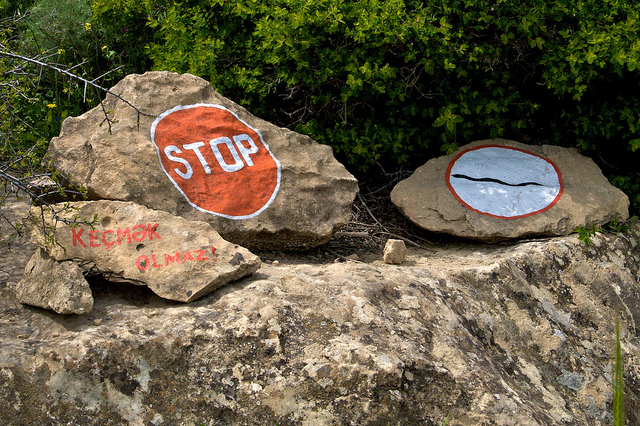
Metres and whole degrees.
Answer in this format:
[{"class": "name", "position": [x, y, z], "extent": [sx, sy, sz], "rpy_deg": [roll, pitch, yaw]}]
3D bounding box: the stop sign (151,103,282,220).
[{"class": "stop sign", "position": [-0.978, -0.524, 11.055], "extent": [1.005, 0.229, 1.303], "rpy_deg": [-37, 74, -24]}]
